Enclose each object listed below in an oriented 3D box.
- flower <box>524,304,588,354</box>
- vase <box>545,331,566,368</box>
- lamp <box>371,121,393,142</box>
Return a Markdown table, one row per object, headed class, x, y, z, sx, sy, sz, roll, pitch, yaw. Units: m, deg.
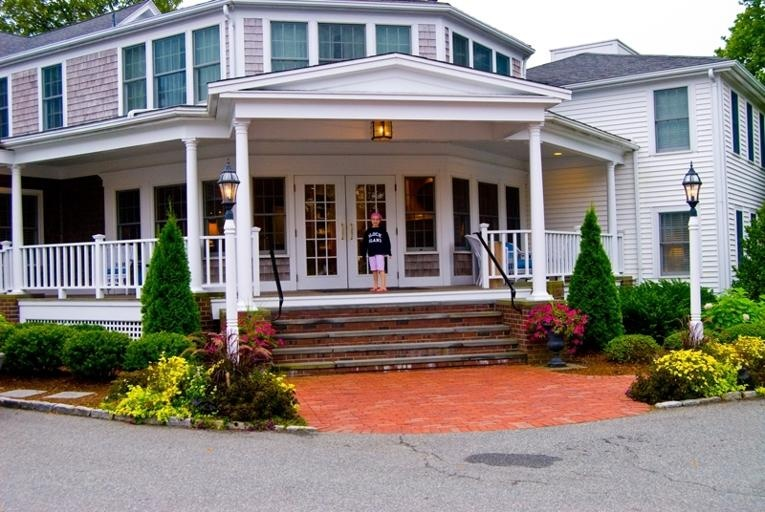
| class | x | y | z | sx | sy | sz | roll | pitch | yaw |
| --- | --- | --- | --- | --- | --- | --- | --- | --- | --- |
| flower | 3.590 | 1.424 | 14.375 | 1.162 | 0.794 | 1.117 | 2 | -2 | -4 |
| vase | 3.574 | 1.871 | 14.115 | 0.644 | 0.797 | 0.596 | -4 | -5 | 13 |
| lamp | -0.035 | -2.823 | 15.410 | 0.421 | 0.383 | 0.417 | 0 | 3 | -5 |
